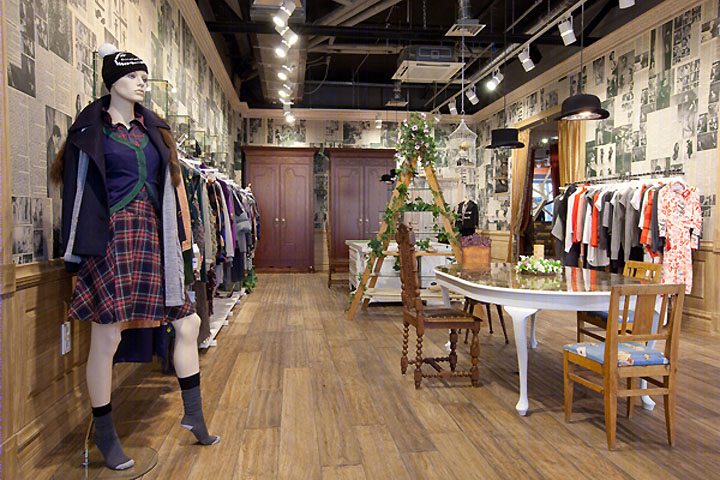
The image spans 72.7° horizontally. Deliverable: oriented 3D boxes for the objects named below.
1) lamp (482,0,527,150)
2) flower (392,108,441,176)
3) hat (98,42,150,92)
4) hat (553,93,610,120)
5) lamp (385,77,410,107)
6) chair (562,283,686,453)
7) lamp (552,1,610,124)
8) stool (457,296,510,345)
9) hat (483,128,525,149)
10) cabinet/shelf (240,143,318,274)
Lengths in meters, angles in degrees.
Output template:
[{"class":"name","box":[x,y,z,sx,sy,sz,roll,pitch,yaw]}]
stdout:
[{"class":"lamp","box":[2.494,-2.430,8.282,0.675,1.727,3.553,3,11,14]},{"class":"flower","box":[0.775,-1.282,6.529,0.562,0.805,0.325,0,10,3]},{"class":"hat","box":[-1.684,-1.210,3.503,0.407,0.337,0.316,3,16,-2]},{"class":"hat","box":[2.477,-1.482,5.382,0.491,0.256,0.414,3,11,13]},{"class":"lamp","box":[0.872,-3.318,11.101,0.489,0.580,1.674,1,10,5]},{"class":"chair","box":[2.059,0.833,3.747,0.953,1.179,0.782,-7,12,-33]},{"class":"lamp","box":[2.426,-2.016,5.416,0.526,1.364,0.506,-4,-2,45]},{"class":"stool","box":[1.392,0.861,5.657,0.415,0.377,0.451,8,-8,3]},{"class":"hat","box":[1.974,-1.416,6.891,0.422,0.193,0.436,1,3,43]},{"class":"cabinet/shelf","box":[-1.762,-0.695,11.143,1.503,2.836,0.537,-1,10,-8]}]
